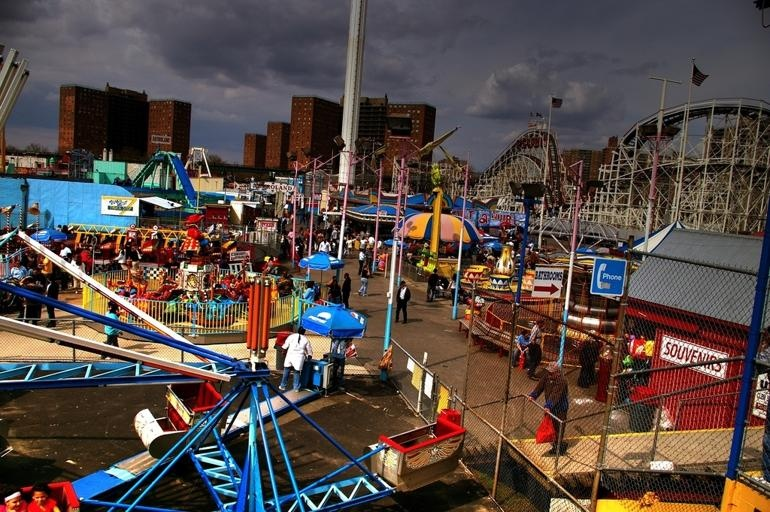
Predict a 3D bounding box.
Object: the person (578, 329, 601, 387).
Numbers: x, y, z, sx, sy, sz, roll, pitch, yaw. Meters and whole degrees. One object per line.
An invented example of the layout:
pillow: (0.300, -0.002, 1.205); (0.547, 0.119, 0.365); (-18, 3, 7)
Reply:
person: (6.887, 3.594, 23.640); (0.684, 1.507, 1.175); (3, 5, 16)

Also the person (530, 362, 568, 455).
person: (4.447, 4.212, 18.984); (0.801, 2.134, 1.225); (8, -26, 8)

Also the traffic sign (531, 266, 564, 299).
traffic sign: (5.217, 0.864, 22.448); (1.145, 1.310, 0.180); (2, 8, -7)
